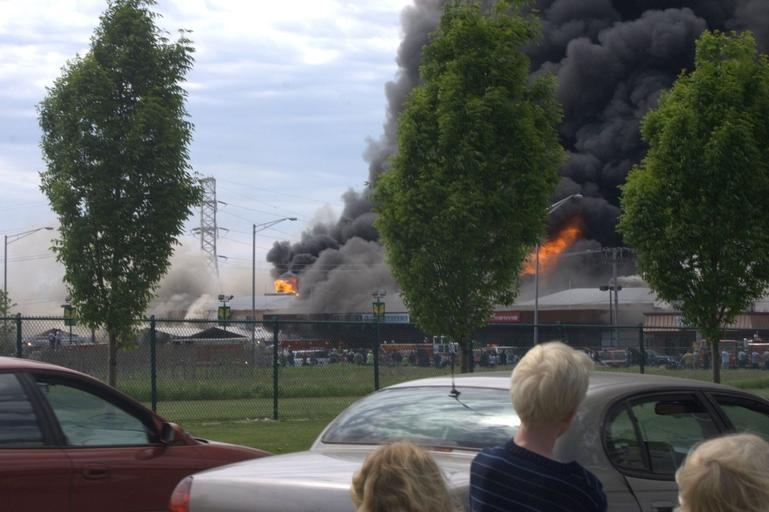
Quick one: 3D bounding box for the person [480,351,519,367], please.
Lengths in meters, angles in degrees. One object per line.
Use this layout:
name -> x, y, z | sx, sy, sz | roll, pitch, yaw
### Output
person -> 4.224, 3.749, 45.380 | 1.086, 0.374, 0.629 | 0, 0, 32
